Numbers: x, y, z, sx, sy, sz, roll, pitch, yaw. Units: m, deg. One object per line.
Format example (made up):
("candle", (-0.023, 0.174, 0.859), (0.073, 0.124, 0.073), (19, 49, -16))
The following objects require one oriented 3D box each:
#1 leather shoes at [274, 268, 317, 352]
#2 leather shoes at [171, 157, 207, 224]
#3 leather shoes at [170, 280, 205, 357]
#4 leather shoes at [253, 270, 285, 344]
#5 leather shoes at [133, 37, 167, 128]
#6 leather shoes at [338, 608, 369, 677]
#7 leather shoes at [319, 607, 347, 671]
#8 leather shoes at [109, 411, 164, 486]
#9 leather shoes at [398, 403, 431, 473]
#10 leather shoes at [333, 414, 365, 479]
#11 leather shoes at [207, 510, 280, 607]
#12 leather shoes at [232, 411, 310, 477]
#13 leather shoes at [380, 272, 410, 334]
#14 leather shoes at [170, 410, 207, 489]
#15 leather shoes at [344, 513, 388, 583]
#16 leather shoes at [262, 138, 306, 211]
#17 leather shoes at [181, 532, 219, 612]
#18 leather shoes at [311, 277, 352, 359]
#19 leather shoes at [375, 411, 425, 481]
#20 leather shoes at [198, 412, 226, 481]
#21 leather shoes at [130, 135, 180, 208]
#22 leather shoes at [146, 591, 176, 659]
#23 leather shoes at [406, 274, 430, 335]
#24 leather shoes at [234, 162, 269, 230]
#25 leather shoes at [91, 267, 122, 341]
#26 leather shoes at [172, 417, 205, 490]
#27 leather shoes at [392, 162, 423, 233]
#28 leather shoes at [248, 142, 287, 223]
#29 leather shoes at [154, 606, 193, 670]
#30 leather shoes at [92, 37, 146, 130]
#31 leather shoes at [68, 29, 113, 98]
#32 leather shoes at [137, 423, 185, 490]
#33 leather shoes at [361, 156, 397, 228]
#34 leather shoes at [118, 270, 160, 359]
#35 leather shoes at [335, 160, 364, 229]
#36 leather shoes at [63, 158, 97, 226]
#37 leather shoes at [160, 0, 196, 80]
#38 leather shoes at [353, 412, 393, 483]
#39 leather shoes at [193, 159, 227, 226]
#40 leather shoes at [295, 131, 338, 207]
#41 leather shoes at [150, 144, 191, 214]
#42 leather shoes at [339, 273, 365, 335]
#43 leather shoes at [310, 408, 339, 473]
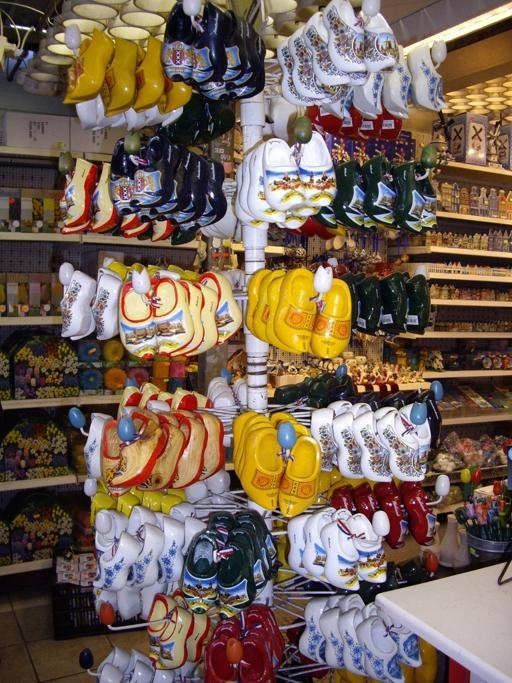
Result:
("leather shoes", (0.076, -0.067, 1.197), (0.087, 0.169, 0.068), (-3, 11, -31))
("leather shoes", (-0.130, -0.305, 1.159), (0.054, 0.150, 0.064), (9, 23, 28))
("leather shoes", (-0.124, -0.046, 1.120), (0.046, 0.139, 0.078), (-8, 10, -22))
("leather shoes", (0.024, -0.074, 1.221), (0.057, 0.147, 0.089), (3, 6, 38))
("leather shoes", (-0.203, -0.507, 1.099), (0.064, 0.141, 0.056), (2, 12, 5))
("leather shoes", (0.198, 0.623, 1.163), (0.052, 0.128, 0.060), (-6, 6, -33))
("leather shoes", (0.164, 0.640, 1.206), (0.050, 0.125, 0.048), (-6, 12, -25))
("leather shoes", (-0.230, 0.223, 1.124), (0.093, 0.148, 0.127), (0, 7, 4))
("leather shoes", (0.322, 0.218, 1.157), (0.059, 0.167, 0.073), (-2, 16, 12))
("leather shoes", (0.197, 0.218, 1.207), (0.050, 0.128, 0.074), (-13, 10, -44))
("leather shoes", (-0.027, 0.428, 1.147), (0.120, 0.210, 0.077), (-8, -2, 30))
("leather shoes", (0.014, 0.200, 1.201), (0.124, 0.177, 0.066), (-1, 10, -6))
("leather shoes", (0.317, -0.086, 1.301), (0.048, 0.131, 0.072), (-6, 9, -35))
("leather shoes", (-0.145, 0.234, 1.215), (0.052, 0.147, 0.082), (-3, 10, -17))
("leather shoes", (0.214, 0.416, 1.178), (0.084, 0.152, 0.067), (-15, 3, -41))
("leather shoes", (0.054, -0.319, 1.092), (0.074, 0.134, 0.050), (-9, 8, -14))
("leather shoes", (-0.109, 0.450, 1.095), (0.069, 0.141, 0.052), (4, 1, 28))
("leather shoes", (0.160, -0.052, 1.222), (0.083, 0.164, 0.065), (3, 12, -15))
("leather shoes", (0.294, 0.205, 1.172), (0.082, 0.147, 0.064), (-29, 13, -28))
("leather shoes", (-0.099, 0.240, 1.290), (0.048, 0.137, 0.076), (-5, 9, -27))
("leather shoes", (-0.191, -0.319, 1.062), (0.069, 0.141, 0.057), (13, 14, 24))
("leather shoes", (-0.207, 0.581, 1.162), (0.048, 0.151, 0.063), (-6, -8, 42))
("leather shoes", (0.399, -0.084, 1.390), (0.073, 0.132, 0.043), (-5, 2, -20))
("leather shoes", (-0.014, -0.306, 1.197), (0.048, 0.124, 0.072), (-4, 6, -3))
("leather shoes", (-0.312, -0.073, 1.168), (0.061, 0.156, 0.156), (-2, 7, -15))
("leather shoes", (-0.138, 0.238, 1.214), (0.050, 0.142, 0.079), (-3, 11, -15))
("leather shoes", (0.327, -0.310, 1.212), (0.056, 0.141, 0.059), (-13, 17, -29))
("leather shoes", (0.019, -0.327, 1.171), (0.081, 0.153, 0.062), (-13, 17, -7))
("leather shoes", (-0.174, 0.599, 1.179), (0.054, 0.128, 0.069), (1, 0, -35))
("leather shoes", (-0.268, -0.493, 1.097), (0.076, 0.149, 0.059), (2, 4, 35))
("leather shoes", (-0.324, -0.515, 1.100), (0.056, 0.139, 0.082), (15, 12, -25))
("leather shoes", (-0.197, 0.236, 1.148), (0.050, 0.142, 0.078), (6, 3, -11))
("leather shoes", (0.268, -0.321, 1.216), (0.076, 0.135, 0.060), (-20, 17, -30))
("leather shoes", (-0.226, -0.044, 1.075), (0.062, 0.184, 0.128), (-5, 21, -5))
("leather shoes", (0.205, -0.316, 1.227), (0.074, 0.130, 0.051), (-16, 18, -33))
("leather shoes", (-0.409, -0.324, 1.294), (0.070, 0.167, 0.062), (4, 5, -3))
("leather shoes", (-0.136, -0.512, 0.973), (0.058, 0.121, 0.049), (8, 20, 28))
("leather shoes", (0.240, 0.211, 1.170), (0.078, 0.137, 0.055), (-5, 8, 42))
("leather shoes", (-0.101, -0.327, 1.241), (0.056, 0.133, 0.073), (-8, 11, -21))
("leather shoes", (0.123, -0.338, 1.134), (0.078, 0.145, 0.048), (-15, 16, -21))
("leather shoes", (-0.169, -0.306, 1.104), (0.053, 0.146, 0.060), (10, 15, 31))
("leather shoes", (0.214, -0.087, 1.258), (0.043, 0.142, 0.056), (-2, 11, 8))
("leather shoes", (0.147, 0.214, 1.206), (0.066, 0.117, 0.041), (-4, 6, 35))
